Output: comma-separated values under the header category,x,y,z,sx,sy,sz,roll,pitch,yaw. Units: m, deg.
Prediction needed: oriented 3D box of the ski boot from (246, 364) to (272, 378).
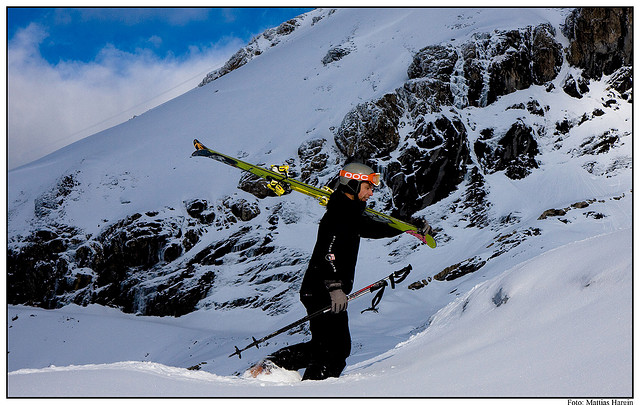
category,x,y,z,sx,sy,sz,roll,pitch,yaw
ski boot,-2.332,6.300,30.120,0.492,0.462,0.129,13,-18,9
